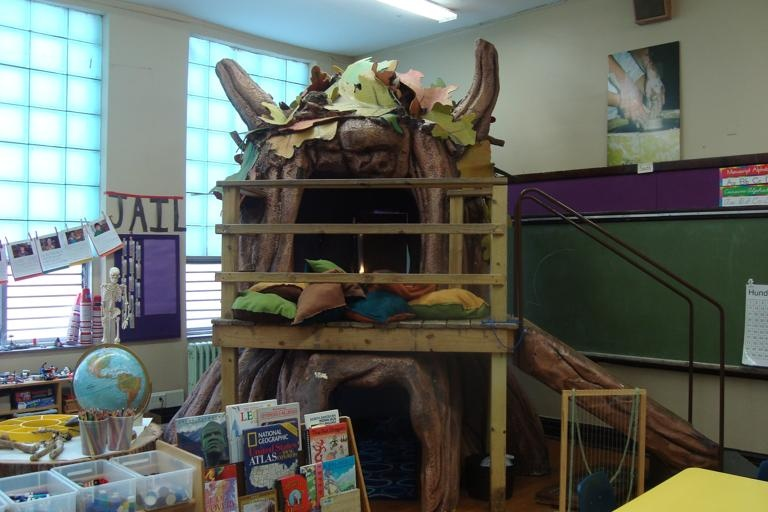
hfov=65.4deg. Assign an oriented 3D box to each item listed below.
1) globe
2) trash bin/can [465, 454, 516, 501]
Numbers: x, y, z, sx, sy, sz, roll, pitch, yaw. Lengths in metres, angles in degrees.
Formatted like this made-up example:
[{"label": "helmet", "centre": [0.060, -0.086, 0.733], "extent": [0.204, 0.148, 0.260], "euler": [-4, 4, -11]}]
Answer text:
[{"label": "globe", "centre": [-1.978, 0.980, 4.389], "extent": [0.508, 0.525, 0.412], "euler": [2, -5, -14]}, {"label": "trash bin/can", "centre": [1.032, 2.153, 5.861], "extent": [0.499, 0.386, 0.413], "euler": [-6, 5, -41]}]
